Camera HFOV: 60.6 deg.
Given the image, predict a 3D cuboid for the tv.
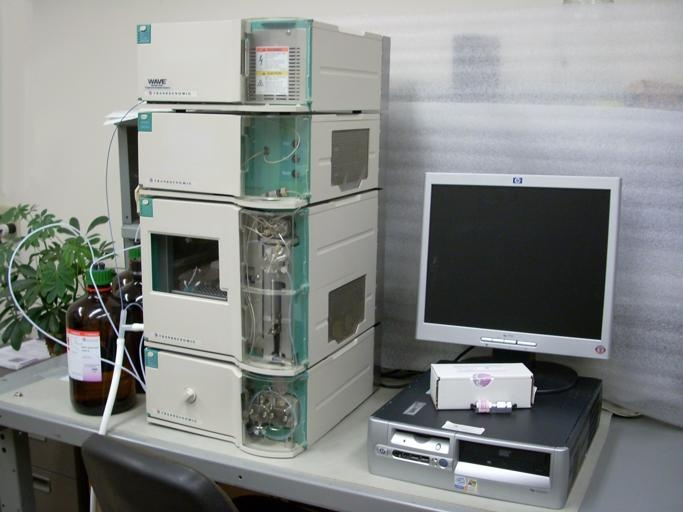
[{"bbox_3d":[0.489,0.058,1.598,0.613,0.636,0.226,3,2,19],"label":"tv"}]
